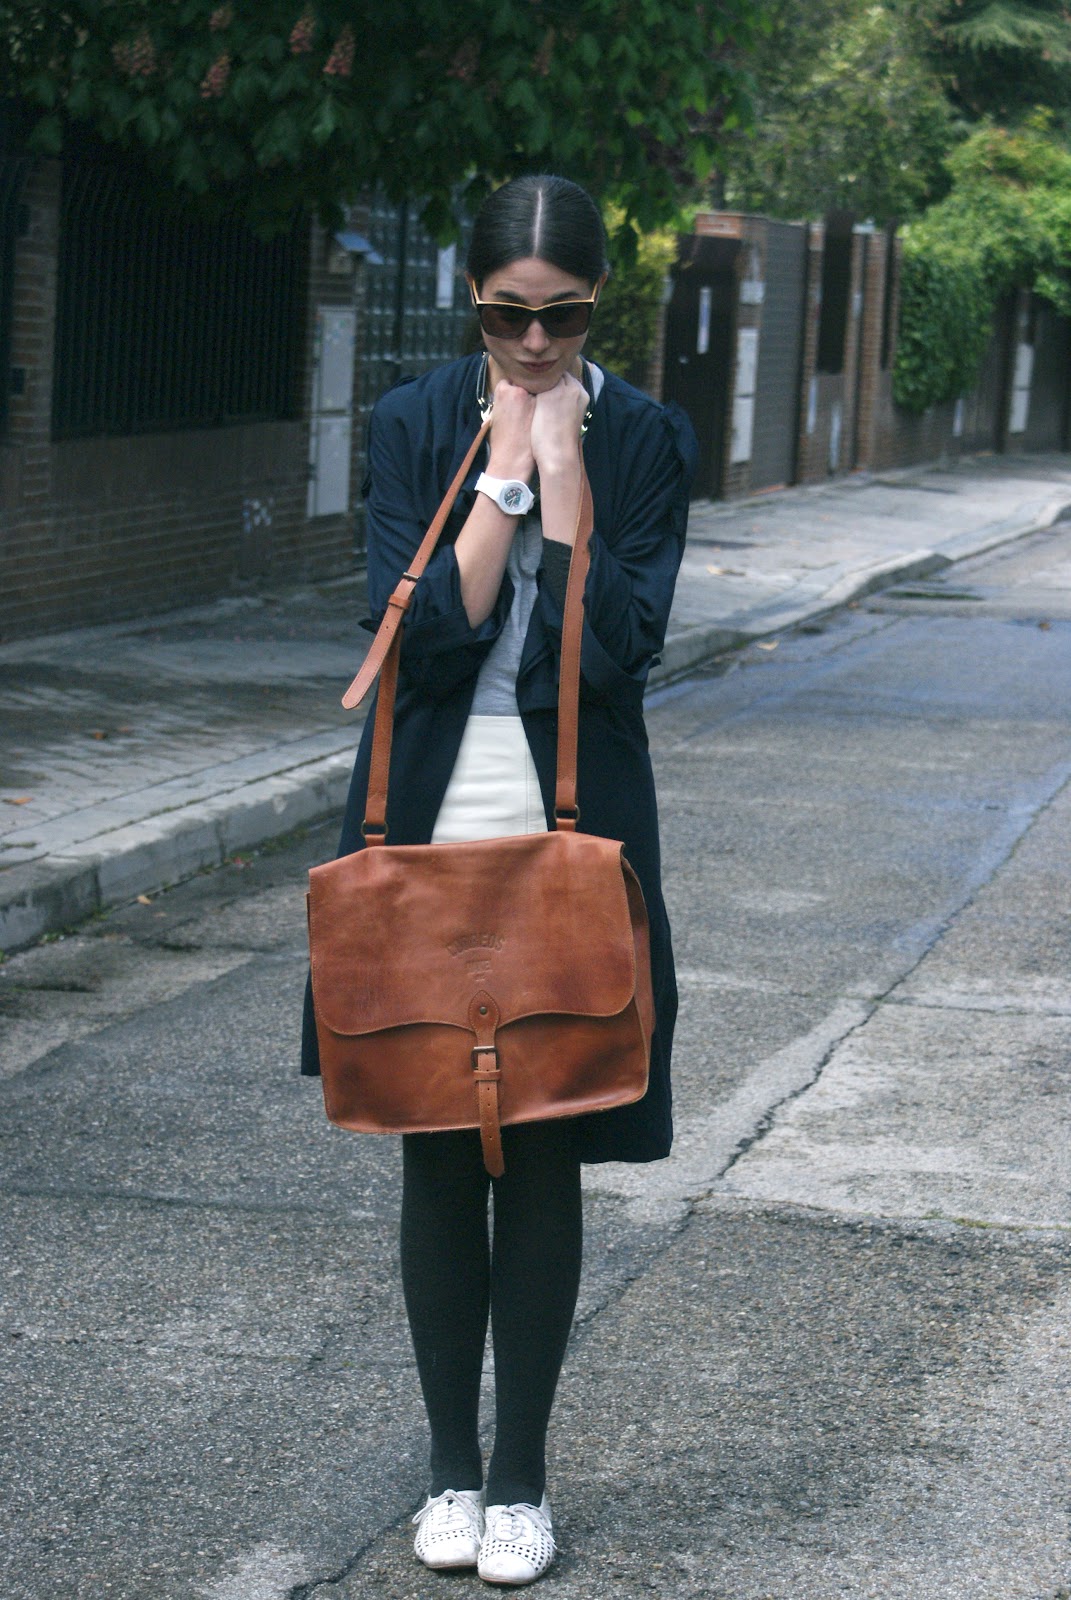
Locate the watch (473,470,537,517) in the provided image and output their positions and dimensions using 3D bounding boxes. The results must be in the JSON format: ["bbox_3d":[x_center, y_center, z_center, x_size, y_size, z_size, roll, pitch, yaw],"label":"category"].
[{"bbox_3d":[-0.034,-0.367,2.227,0.067,0.039,0.066,20,-12,-28],"label":"watch"}]

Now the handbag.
[{"bbox_3d":[-0.057,0.054,2.239,0.402,0.860,0.255,1,11,3],"label":"handbag"}]

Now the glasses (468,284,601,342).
[{"bbox_3d":[0.003,-0.586,2.266,0.146,0.053,0.112,-1,11,-7],"label":"glasses"}]
